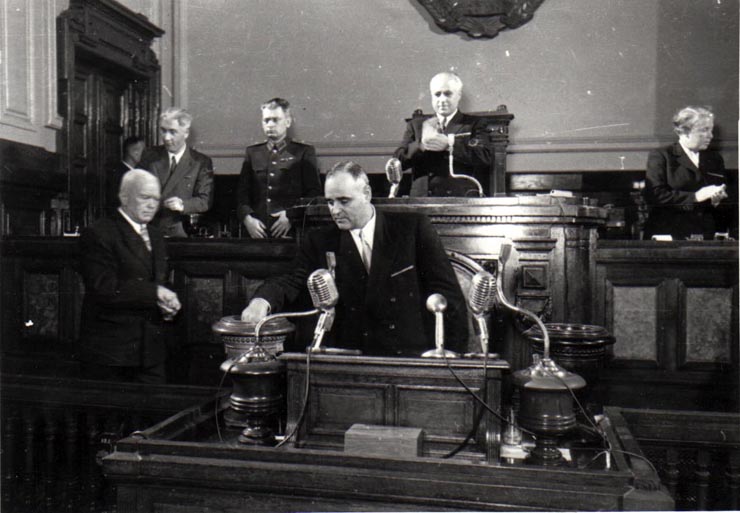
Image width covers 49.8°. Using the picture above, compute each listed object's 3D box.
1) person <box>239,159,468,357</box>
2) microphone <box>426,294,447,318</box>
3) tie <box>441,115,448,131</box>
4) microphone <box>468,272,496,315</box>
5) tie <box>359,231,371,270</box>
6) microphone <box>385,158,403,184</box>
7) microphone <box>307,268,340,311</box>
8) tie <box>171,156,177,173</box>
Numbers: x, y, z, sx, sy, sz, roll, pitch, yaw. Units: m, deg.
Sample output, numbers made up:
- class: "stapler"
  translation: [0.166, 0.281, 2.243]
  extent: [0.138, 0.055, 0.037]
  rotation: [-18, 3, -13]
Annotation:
- class: "person"
  translation: [0.038, 0.157, 3.497]
  extent: [0.844, 1.200, 0.820]
  rotation: [-8, -10, 30]
- class: "microphone"
  translation: [0.246, 0.172, 2.893]
  extent: [0.061, 0.069, 0.103]
  rotation: [-1, -1, 11]
- class: "tie"
  translation: [0.305, -0.546, 3.247]
  extent: [0.034, 0.045, 0.011]
  rotation: [2, 4, -8]
- class: "microphone"
  translation: [0.407, 0.127, 2.875]
  extent: [0.099, 0.154, 0.133]
  rotation: [-1, -1, 8]
- class: "tie"
  translation: [-0.015, -0.025, 3.218]
  extent: [0.035, 0.173, 0.026]
  rotation: [-7, -14, 5]
- class: "microphone"
  translation: [0.097, -0.348, 3.260]
  extent: [0.090, 0.127, 0.086]
  rotation: [-2, 3, -5]
- class: "microphone"
  translation: [-0.155, 0.121, 2.912]
  extent: [0.094, 0.147, 0.160]
  rotation: [-2, -2, 33]
- class: "tie"
  translation: [-0.819, -0.388, 3.346]
  extent: [0.041, 0.060, 0.008]
  rotation: [-2, -2, 32]
